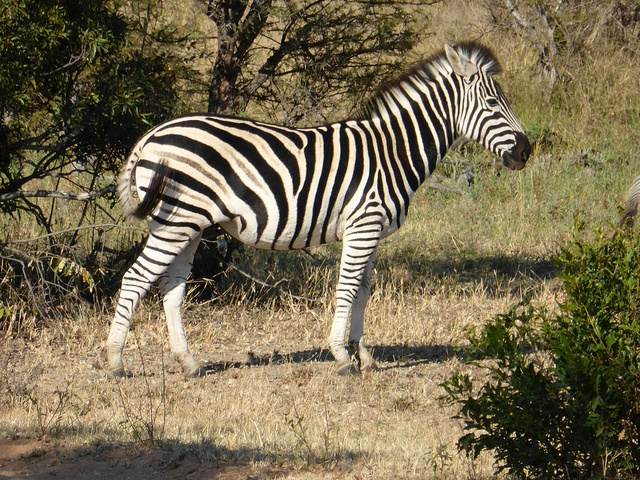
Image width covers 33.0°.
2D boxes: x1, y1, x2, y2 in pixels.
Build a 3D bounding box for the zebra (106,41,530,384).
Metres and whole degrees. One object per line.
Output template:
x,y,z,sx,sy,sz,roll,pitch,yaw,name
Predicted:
-0.228,-0.326,13.715,3.380,3.674,1.083,0,-4,-5,zebra
